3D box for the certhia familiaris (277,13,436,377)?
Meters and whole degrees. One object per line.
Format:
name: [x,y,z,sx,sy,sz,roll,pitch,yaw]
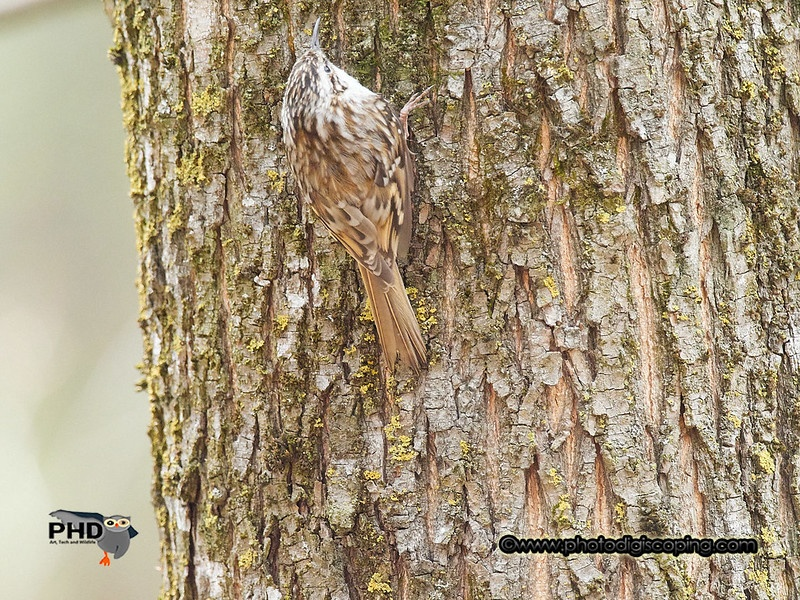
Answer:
certhia familiaris: [-0.145,-0.377,4.808,0.367,1.383,0.434,-11,7,-13]
